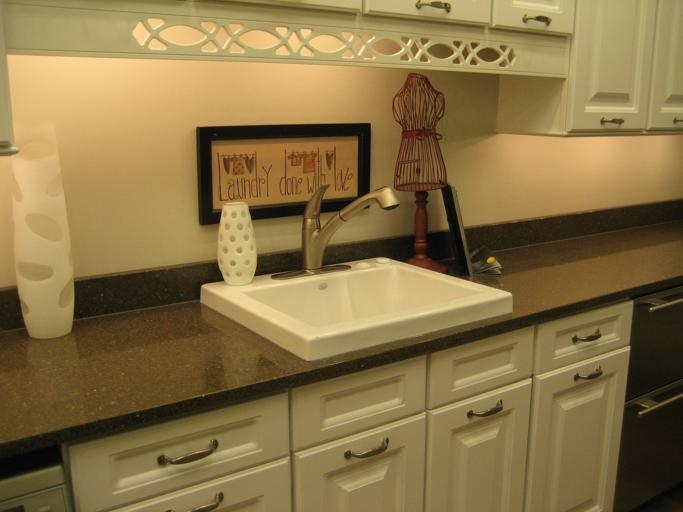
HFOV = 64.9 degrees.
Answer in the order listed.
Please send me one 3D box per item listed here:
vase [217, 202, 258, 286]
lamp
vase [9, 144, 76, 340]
[{"bbox_3d":[-0.336,-0.038,1.704,0.119,0.258,0.100,-8,15,-15],"label":"vase"},{"bbox_3d":[0.300,-0.326,2.055,0.205,0.709,0.389,-1,15,12],"label":"lamp"},{"bbox_3d":[-0.816,-0.026,1.467,0.159,0.501,0.128,-12,16,-27],"label":"vase"}]
